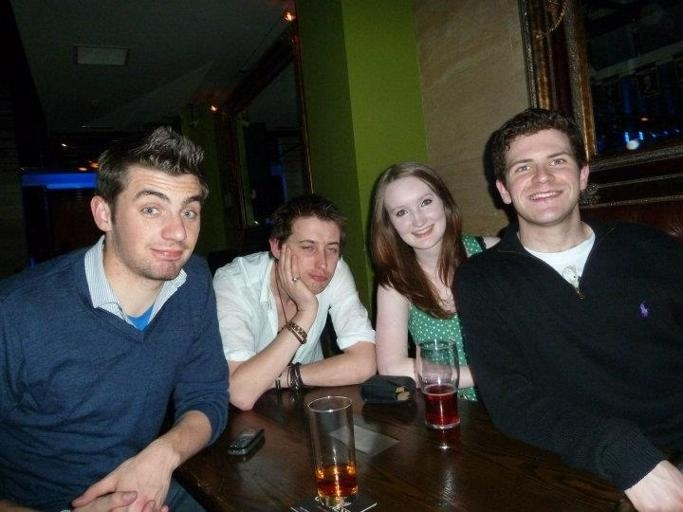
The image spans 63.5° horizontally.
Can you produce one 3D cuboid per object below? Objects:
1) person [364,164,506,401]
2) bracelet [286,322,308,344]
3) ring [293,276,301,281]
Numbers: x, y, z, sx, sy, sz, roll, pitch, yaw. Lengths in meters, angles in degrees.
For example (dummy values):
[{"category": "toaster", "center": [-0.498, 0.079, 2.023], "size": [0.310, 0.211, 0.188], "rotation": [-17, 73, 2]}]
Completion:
[{"category": "person", "center": [0.421, 0.099, 2.901], "size": [0.868, 1.093, 0.380], "rotation": [-10, -7, -2]}, {"category": "bracelet", "center": [-0.201, 0.354, 2.601], "size": [0.033, 0.094, 0.088], "rotation": [-44, 15, -20]}, {"category": "ring", "center": [-0.224, 0.113, 2.730], "size": [0.036, 0.023, 0.045], "rotation": [-7, 7, -10]}]
